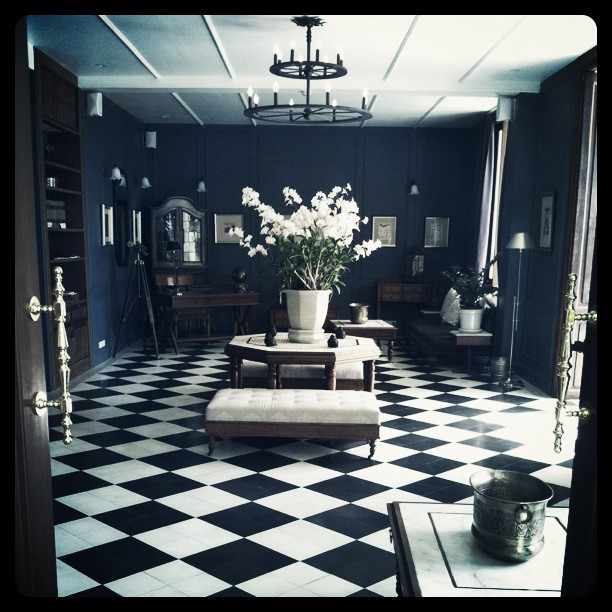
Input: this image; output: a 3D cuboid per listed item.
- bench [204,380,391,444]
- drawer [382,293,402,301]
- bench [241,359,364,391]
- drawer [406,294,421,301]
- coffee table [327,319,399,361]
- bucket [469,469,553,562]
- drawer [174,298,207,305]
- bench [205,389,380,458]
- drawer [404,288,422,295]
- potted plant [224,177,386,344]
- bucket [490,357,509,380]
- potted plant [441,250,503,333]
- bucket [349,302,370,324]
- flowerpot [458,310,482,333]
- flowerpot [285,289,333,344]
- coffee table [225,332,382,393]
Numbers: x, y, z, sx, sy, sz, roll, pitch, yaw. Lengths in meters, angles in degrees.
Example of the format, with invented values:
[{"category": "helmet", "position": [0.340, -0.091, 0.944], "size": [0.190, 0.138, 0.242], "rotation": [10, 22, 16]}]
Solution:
[{"category": "bench", "position": [0.011, 0.877, 4.304], "size": [1.450, 0.442, 1.177], "rotation": [1, 6, 2]}, {"category": "drawer", "position": [1.485, -0.172, 8.892], "size": [0.329, 0.115, 0.040], "rotation": [1, 6, 6]}, {"category": "bench", "position": [0.064, 0.581, 5.289], "size": [1.210, 0.284, 1.039], "rotation": [5, 4, 12]}, {"category": "drawer", "position": [1.860, -0.162, 8.922], "size": [0.213, 0.095, 0.108], "rotation": [1, 1, 3]}, {"category": "coffee table", "position": [0.745, 0.450, 6.875], "size": [0.826, 0.450, 1.017], "rotation": [10, 1, 9]}, {"category": "bucket", "position": [0.643, 0.648, 1.677], "size": [0.265, 0.188, 0.262], "rotation": [0, 7, 0]}, {"category": "drawer", "position": [-1.721, -0.074, 7.748], "size": [0.510, 0.109, 0.062], "rotation": [-4, 8, -39]}, {"category": "bench", "position": [-0.094, 0.908, 3.923], "size": [1.259, 0.412, 0.419], "rotation": [1, 6, 1]}, {"category": "drawer", "position": [1.848, -0.269, 8.878], "size": [0.221, 0.125, 0.116], "rotation": [0, 2, 3]}, {"category": "potted plant", "position": [0.012, -0.370, 4.752], "size": [1.443, 1.317, 0.941], "rotation": [0, -2, -18]}, {"category": "bucket", "position": [2.401, 0.765, 6.397], "size": [0.208, 0.252, 0.325], "rotation": [3, 6, 20]}, {"category": "potted plant", "position": [2.239, -0.144, 6.944], "size": [0.849, 0.902, 0.799], "rotation": [4, -9, -32]}, {"category": "bucket", "position": [0.724, 0.082, 6.681], "size": [0.307, 0.265, 0.245], "rotation": [-1, 6, -12]}, {"category": "flowerpot", "position": [2.124, 0.202, 6.696], "size": [0.290, 0.284, 0.286], "rotation": [0, 1, 12]}, {"category": "flowerpot", "position": [0.012, 0.051, 4.780], "size": [0.574, 0.538, 0.453], "rotation": [0, 4, -2]}, {"category": "coffee table", "position": [-0.014, 0.596, 5.048], "size": [1.495, 0.485, 1.516], "rotation": [3, 4, 28]}]
